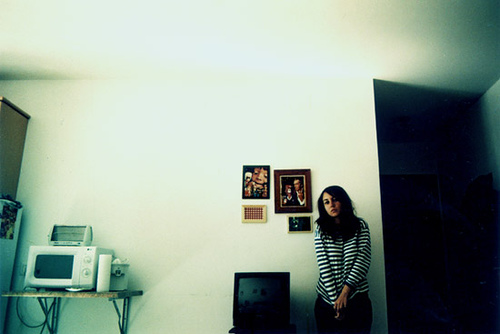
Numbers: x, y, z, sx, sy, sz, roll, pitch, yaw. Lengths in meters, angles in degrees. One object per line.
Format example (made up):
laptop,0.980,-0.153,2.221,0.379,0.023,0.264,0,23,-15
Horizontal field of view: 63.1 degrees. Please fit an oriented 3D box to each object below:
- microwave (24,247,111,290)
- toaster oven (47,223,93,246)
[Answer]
microwave,-2.125,1.141,4.604,0.781,0.447,0.129,-1,-13,1
toaster oven,-2.119,0.819,4.809,0.461,0.243,0.223,5,-14,-22
